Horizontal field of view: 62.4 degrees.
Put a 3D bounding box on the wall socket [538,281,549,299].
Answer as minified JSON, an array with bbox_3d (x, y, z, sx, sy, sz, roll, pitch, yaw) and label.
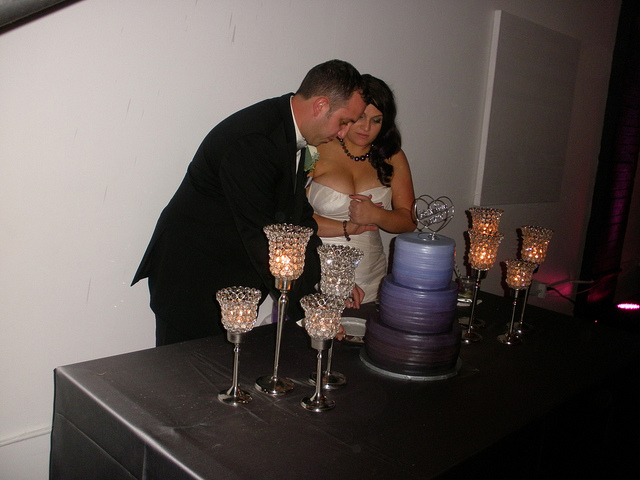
[{"bbox_3d":[2.060,0.459,4.871,0.088,0.179,0.095,9,39,17],"label":"wall socket"}]

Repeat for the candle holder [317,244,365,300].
[{"bbox_3d":[0.062,0.099,1.783,0.128,0.187,0.125,18,20,31],"label":"candle holder"}]

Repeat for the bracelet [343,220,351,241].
[{"bbox_3d":[0.145,-0.042,2.866,0.025,0.083,0.059,-16,27,-12],"label":"bracelet"}]

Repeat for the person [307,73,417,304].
[{"bbox_3d":[0.227,-0.056,3.174,0.635,1.711,0.629,-3,23,-7],"label":"person"}]

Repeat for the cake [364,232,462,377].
[{"bbox_3d":[0.352,0.206,1.901,0.340,0.499,0.354,0,15,-12],"label":"cake"}]

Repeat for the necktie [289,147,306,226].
[{"bbox_3d":[-0.115,-0.235,2.334,0.029,0.367,0.074,6,37,-10],"label":"necktie"}]

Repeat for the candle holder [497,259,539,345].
[{"bbox_3d":[0.756,0.236,2.086,0.108,0.369,0.134,12,19,18],"label":"candle holder"}]
